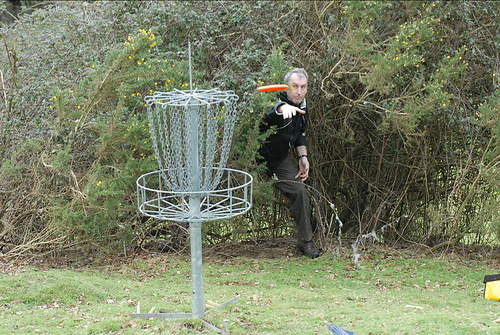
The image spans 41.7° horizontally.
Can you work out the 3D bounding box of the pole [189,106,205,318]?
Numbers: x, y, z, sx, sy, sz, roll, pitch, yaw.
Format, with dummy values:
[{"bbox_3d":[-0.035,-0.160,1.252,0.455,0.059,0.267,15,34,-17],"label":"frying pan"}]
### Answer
[{"bbox_3d":[-0.549,0.469,6.667,0.132,2.113,0.411,-1,-1,-5],"label":"pole"}]
